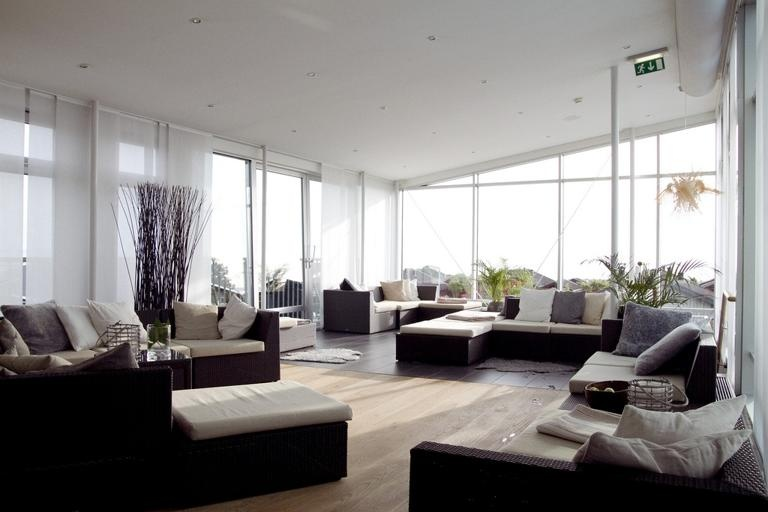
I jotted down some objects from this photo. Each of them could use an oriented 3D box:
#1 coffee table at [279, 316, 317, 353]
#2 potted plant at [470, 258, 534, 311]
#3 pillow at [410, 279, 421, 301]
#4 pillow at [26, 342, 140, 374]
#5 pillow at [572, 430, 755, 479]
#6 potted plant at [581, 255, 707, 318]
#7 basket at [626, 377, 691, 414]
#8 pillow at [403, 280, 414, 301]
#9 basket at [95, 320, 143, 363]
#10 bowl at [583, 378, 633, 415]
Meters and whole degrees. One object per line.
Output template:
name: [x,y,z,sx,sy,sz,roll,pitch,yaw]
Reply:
coffee table: [-1.374,1.224,8.054,0.470,0.330,0.676,-1,-2,29]
potted plant: [2.622,0.559,11.080,1.019,1.127,1.122,0,-1,-15]
pillow: [0.654,0.744,11.191,0.146,0.429,0.388,-4,-5,19]
pillow: [-1.894,0.652,3.263,0.604,0.246,0.198,9,10,-9]
pillow: [1.323,0.911,2.420,0.381,0.114,0.379,2,-12,-27]
potted plant: [3.995,0.447,7.675,0.993,0.507,1.011,7,-11,-33]
basket: [1.820,0.978,3.570,0.237,0.218,0.266,-7,-21,22]
pillow: [0.490,0.736,10.935,0.147,0.422,0.380,-7,0,34]
basket: [-2.373,0.749,4.530,0.385,0.381,0.380,1,-1,-30]
bowl: [1.728,1.071,3.915,0.337,0.184,0.319,-9,-2,0]
